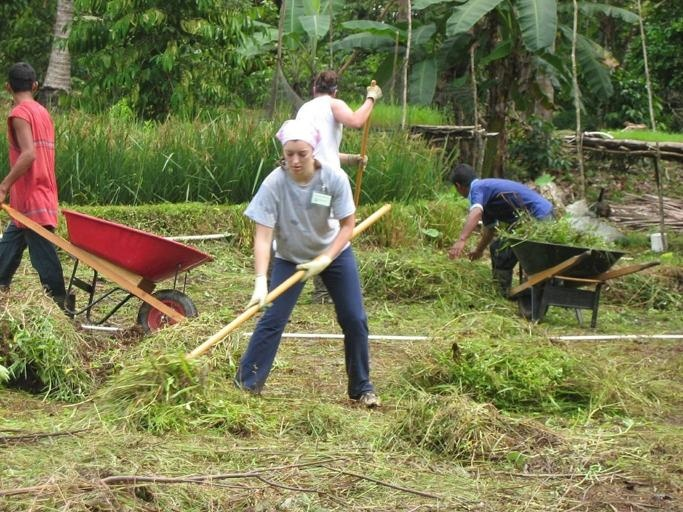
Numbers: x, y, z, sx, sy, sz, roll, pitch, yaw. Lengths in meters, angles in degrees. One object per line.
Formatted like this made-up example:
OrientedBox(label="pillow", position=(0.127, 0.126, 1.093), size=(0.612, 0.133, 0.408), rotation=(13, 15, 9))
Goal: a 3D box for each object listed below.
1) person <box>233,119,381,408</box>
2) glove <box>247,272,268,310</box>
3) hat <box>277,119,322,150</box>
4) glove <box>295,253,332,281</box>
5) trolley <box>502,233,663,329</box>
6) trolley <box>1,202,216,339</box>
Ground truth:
OrientedBox(label="person", position=(-0.247, 0.080, 6.560), size=(0.942, 2.102, 0.548), rotation=(0, 4, -36))
OrientedBox(label="glove", position=(-0.601, 0.253, 6.411), size=(0.130, 0.235, 0.150), rotation=(2, 3, -1))
OrientedBox(label="hat", position=(-0.296, -0.854, 6.172), size=(0.258, 0.163, 0.246), rotation=(1, -3, -3))
OrientedBox(label="glove", position=(-0.178, 0.088, 6.489), size=(0.270, 0.127, 0.101), rotation=(-26, 0, 17))
OrientedBox(label="trolley", position=(2.380, 0.271, 9.114), size=(1.708, 0.600, 0.750), rotation=(3, -7, 6))
OrientedBox(label="trolley", position=(-2.214, 0.108, 7.687), size=(2.403, 0.911, 0.820), rotation=(13, -6, 6))
